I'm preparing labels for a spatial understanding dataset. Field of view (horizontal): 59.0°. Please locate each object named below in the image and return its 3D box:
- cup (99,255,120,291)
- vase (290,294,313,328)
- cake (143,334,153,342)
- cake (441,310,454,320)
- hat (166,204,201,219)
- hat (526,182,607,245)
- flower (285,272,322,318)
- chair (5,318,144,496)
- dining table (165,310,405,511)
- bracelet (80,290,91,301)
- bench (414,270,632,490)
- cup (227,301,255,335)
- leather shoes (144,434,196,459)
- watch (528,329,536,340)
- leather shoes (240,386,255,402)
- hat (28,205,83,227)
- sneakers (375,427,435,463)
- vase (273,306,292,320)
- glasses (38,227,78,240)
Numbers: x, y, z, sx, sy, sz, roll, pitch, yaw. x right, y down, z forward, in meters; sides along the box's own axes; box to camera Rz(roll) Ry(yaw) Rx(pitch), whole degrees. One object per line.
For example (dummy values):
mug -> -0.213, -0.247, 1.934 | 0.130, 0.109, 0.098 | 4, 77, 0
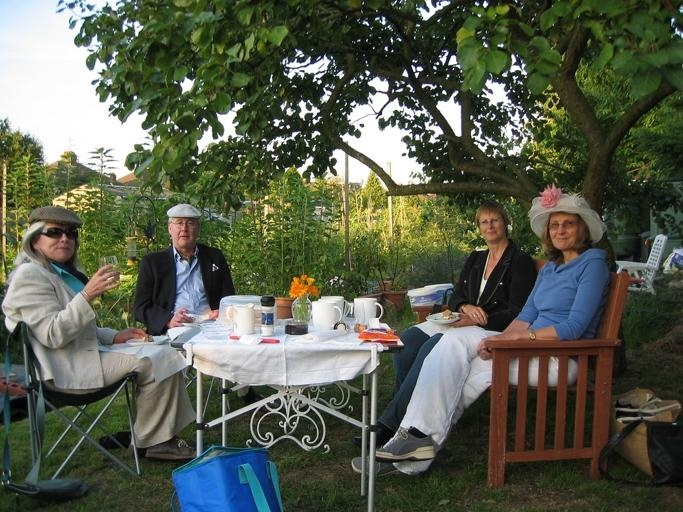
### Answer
cup -> -1.611, 0.129, 4.236 | 0.194, 0.247, 0.153 | 0, 0, 15
vase -> -0.276, 0.371, 4.198 | 0.185, 0.291, 0.172 | 1, -7, -5
cake -> -1.467, 0.623, 4.600 | 0.059, 0.061, 0.044 | 2, -7, -20
cake -> 0.875, 0.483, 4.943 | 0.071, 0.075, 0.069 | 3, 6, 2
hat -> -1.424, -0.401, 5.502 | 0.320, 0.121, 0.355 | 1, 4, 0
hat -> 1.775, -0.402, 4.763 | 0.585, 0.245, 0.490 | 13, 7, -18
flower -> -0.263, 0.299, 4.264 | 0.217, 0.322, 0.208 | -4, -5, 15
chair -> -1.962, 1.067, 4.463 | 0.873, 1.199, 0.936 | 0, 0, -13
dining table -> -0.387, 0.926, 4.423 | 1.310, 1.051, 1.370 | 1, -1, 4
bracelet -> -1.772, 0.273, 4.192 | 0.061, 0.064, 0.060 | -15, 15, -37
bench -> 1.366, 0.945, 5.172 | 1.287, 1.901, 1.393 | 1, -5, -3
cup -> -0.690, 0.426, 4.163 | 0.196, 0.200, 0.123 | 3, -3, -25
leather shoes -> -1.323, 1.487, 4.694 | 0.380, 0.193, 0.182 | -1, -2, -7
watch -> 1.382, 0.571, 4.398 | 0.037, 0.055, 0.057 | -6, 39, 13
leather shoes -> -0.868, 1.284, 5.620 | 0.157, 0.192, 0.189 | 0, -5, -6
hat -> -2.078, -0.294, 4.394 | 0.361, 0.147, 0.210 | 1, -1, -21
sneakers -> 0.481, 1.399, 4.469 | 0.495, 0.249, 0.188 | 1, -6, -1
vase -> -0.444, 0.433, 4.596 | 0.100, 0.076, 0.103 | 0, -2, -4
glasses -> -2.034, -0.159, 4.426 | 0.113, 0.086, 0.271 | 0, -1, 36
